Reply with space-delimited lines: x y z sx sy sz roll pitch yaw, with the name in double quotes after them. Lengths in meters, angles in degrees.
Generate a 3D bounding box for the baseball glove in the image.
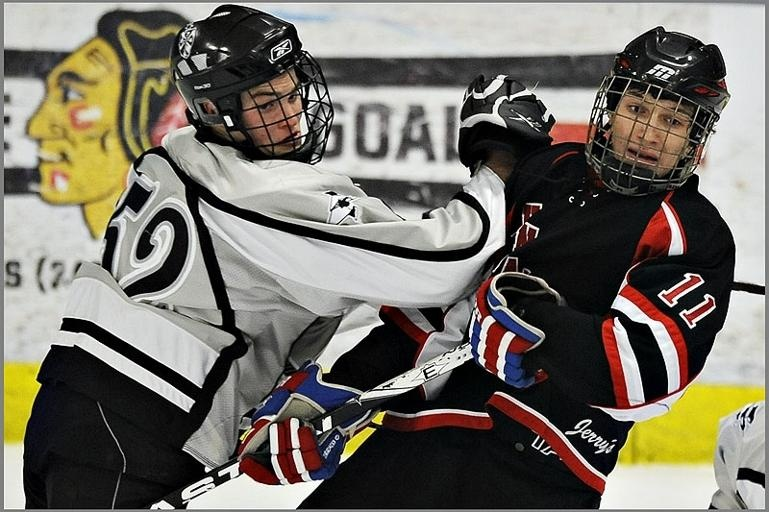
0.480 -0.547 4.324 0.411 0.289 0.334 -12 61 -3 "baseball glove"

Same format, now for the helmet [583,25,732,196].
1.057 -0.560 3.959 0.517 0.583 0.363 -11 30 -15 "helmet"
